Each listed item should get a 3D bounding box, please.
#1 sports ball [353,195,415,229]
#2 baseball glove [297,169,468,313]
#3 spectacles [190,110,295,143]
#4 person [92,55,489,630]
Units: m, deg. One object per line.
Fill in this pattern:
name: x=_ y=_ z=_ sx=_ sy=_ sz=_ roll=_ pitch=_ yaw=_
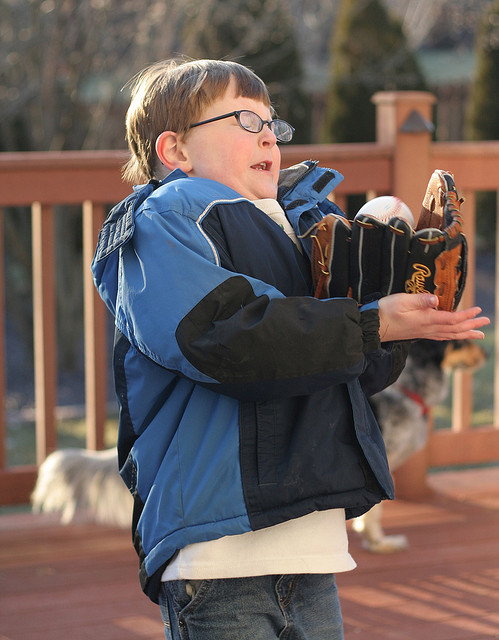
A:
sports ball: x=0.259 y=-0.204 z=2.264 sx=0.090 sy=0.082 sz=0.081 roll=-10 pitch=37 yaw=24
baseball glove: x=0.257 y=-0.154 z=2.204 sx=0.306 sy=0.268 sz=0.156 roll=2 pitch=6 yaw=15
spectacles: x=0.012 y=-0.409 z=2.384 sx=0.101 sy=0.023 sz=0.098 roll=-10 pitch=-14 yaw=34
person: x=0.050 y=0.054 z=2.326 sx=0.756 sy=1.179 sz=0.506 roll=1 pitch=6 yaw=2
